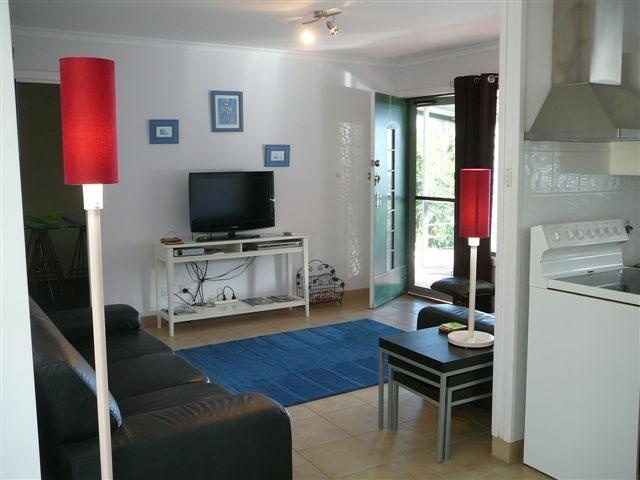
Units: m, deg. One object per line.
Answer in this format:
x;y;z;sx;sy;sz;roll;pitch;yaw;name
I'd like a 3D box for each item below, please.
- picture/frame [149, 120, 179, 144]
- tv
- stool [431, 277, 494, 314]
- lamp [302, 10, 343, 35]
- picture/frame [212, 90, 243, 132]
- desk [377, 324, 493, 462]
-1.689;-1.154;5.358;0.271;0.231;0.020;-4;10;-29;picture/frame
-1.000;-0.410;5.645;0.997;0.733;0.105;-5;12;-30;tv
1.368;0.568;4.861;0.414;0.406;0.578;-6;6;-21;stool
0.022;-1.969;4.605;0.358;0.169;0.542;-5;7;0;lamp
-1.072;-1.472;5.689;0.475;0.534;0.040;-4;7;-31;picture/frame
0.748;0.840;3.279;0.647;0.782;0.807;-4;8;-31;desk
